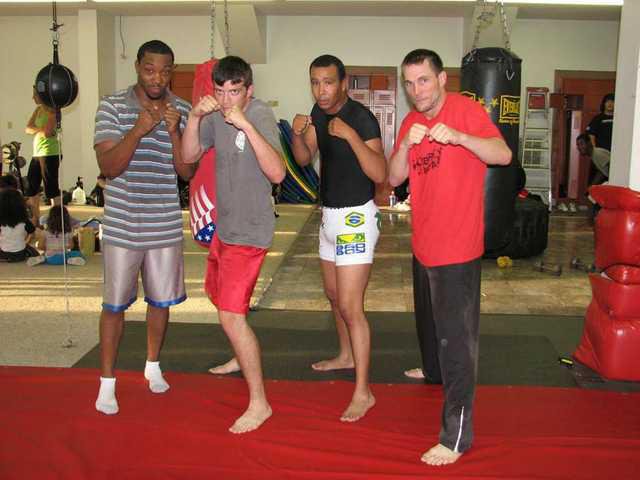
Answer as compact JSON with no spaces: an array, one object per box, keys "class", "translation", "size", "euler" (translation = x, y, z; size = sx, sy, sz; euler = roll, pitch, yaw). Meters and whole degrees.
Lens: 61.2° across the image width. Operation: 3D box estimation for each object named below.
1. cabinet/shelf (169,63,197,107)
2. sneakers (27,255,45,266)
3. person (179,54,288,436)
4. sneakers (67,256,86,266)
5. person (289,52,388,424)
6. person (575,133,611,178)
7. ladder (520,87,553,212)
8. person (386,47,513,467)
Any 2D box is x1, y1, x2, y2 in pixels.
[{"class":"cabinet/shelf","translation":[-2.988,-3.587,12.099],"size":[0.543,0.482,0.353],"euler":[3,-4,8]},{"class":"sneakers","translation":[-3.188,0.226,6.096],"size":[0.194,0.090,0.065],"euler":[-10,-12,-3]},{"class":"person","translation":[-0.425,-0.007,2.794],"size":[0.453,1.816,0.619],"euler":[-5,12,-26]},{"class":"sneakers","translation":[-2.750,0.243,6.124],"size":[0.200,0.079,0.082],"euler":[2,3,-7]},{"class":"person","translation":[0.123,-0.059,2.994],"size":[0.453,1.851,0.809],"euler":[-3,11,-17]},{"class":"person","translation":[4.742,-1.457,9.444],"size":[0.485,0.732,1.794],"euler":[5,11,22]},{"class":"ladder","translation":[4.502,-1.905,11.168],"size":[0.710,2.457,0.999],"euler":[4,11,20]},{"class":"person","translation":[0.592,0.032,2.636],"size":[0.490,1.843,0.756],"euler":[-1,10,-6]}]
